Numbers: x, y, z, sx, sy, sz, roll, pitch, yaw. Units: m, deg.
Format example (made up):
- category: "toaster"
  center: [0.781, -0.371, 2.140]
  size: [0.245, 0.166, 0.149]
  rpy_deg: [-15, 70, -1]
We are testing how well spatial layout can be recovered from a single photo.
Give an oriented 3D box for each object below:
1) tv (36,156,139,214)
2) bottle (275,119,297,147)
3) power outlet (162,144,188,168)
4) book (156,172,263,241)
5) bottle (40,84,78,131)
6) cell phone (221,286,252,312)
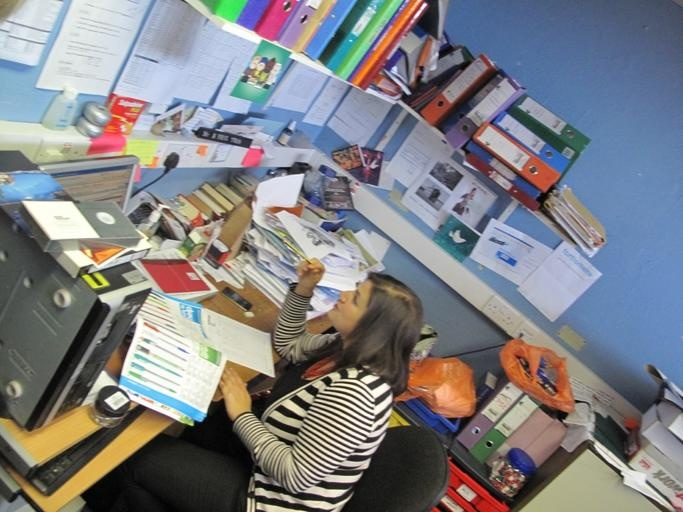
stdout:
- category: "tv"
  center: [-0.771, -0.221, 1.451]
  size: [0.320, 0.192, 0.038]
  rpy_deg: [-17, 54, -42]
- category: "bottle"
  center: [-0.278, -0.655, 2.589]
  size: [0.066, 0.104, 0.151]
  rpy_deg: [38, 16, 1]
- category: "power outlet"
  center: [-0.662, -0.397, 1.926]
  size: [0.026, 0.079, 0.104]
  rpy_deg: [23, 18, 28]
- category: "book"
  center: [-0.665, -0.239, 2.261]
  size: [0.339, 0.118, 0.453]
  rpy_deg: [30, 19, 26]
- category: "bottle"
  center: [-0.863, -0.457, 1.505]
  size: [0.078, 0.149, 0.064]
  rpy_deg: [27, 21, -35]
- category: "cell phone"
  center: [-0.422, 0.173, 1.973]
  size: [0.128, 0.013, 0.080]
  rpy_deg: [29, 7, -10]
